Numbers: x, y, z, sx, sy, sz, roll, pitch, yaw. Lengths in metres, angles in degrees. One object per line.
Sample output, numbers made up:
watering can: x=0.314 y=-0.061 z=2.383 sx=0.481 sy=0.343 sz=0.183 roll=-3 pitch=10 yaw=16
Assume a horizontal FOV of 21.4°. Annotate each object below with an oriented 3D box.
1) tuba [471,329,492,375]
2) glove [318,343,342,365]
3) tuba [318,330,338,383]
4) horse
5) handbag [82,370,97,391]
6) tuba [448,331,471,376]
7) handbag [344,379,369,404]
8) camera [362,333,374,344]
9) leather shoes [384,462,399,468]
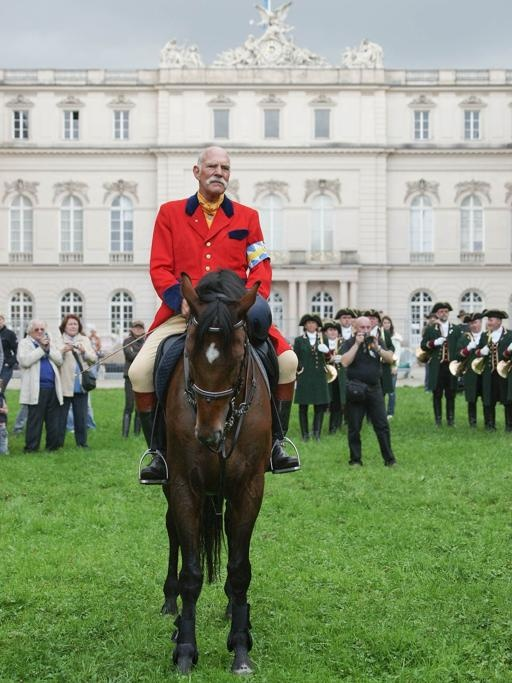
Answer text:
tuba: x=4.124 y=0.293 z=24.923 sx=0.255 sy=0.563 sz=0.166 roll=20 pitch=20 yaw=20
glove: x=1.293 y=0.242 z=24.115 sx=0.203 sy=0.239 sz=0.670 roll=14 pitch=-6 yaw=5
tuba: x=1.303 y=0.413 z=24.210 sx=0.292 sy=0.167 sz=0.783 roll=8 pitch=35 yaw=-14
horse: x=-0.391 y=1.255 z=13.397 sx=1.077 sy=3.830 sz=1.267 roll=0 pitch=12 yaw=-1
handbag: x=-2.686 y=0.631 z=21.713 sx=0.215 sy=0.377 sz=0.380 roll=-4 pitch=-4 yaw=15
tuba: x=3.805 y=0.237 z=25.355 sx=0.242 sy=0.786 sz=0.330 roll=7 pitch=11 yaw=-44
handbag: x=1.526 y=0.782 z=20.579 sx=0.385 sy=0.370 sz=0.298 roll=0 pitch=-4 yaw=21
camera: x=1.712 y=-0.033 z=20.692 sx=0.137 sy=0.117 sz=0.109 roll=-39 pitch=5 yaw=22
leather shoes: x=1.984 y=1.827 z=19.986 sx=0.194 sy=0.069 sz=0.264 roll=1 pitch=12 yaw=4
